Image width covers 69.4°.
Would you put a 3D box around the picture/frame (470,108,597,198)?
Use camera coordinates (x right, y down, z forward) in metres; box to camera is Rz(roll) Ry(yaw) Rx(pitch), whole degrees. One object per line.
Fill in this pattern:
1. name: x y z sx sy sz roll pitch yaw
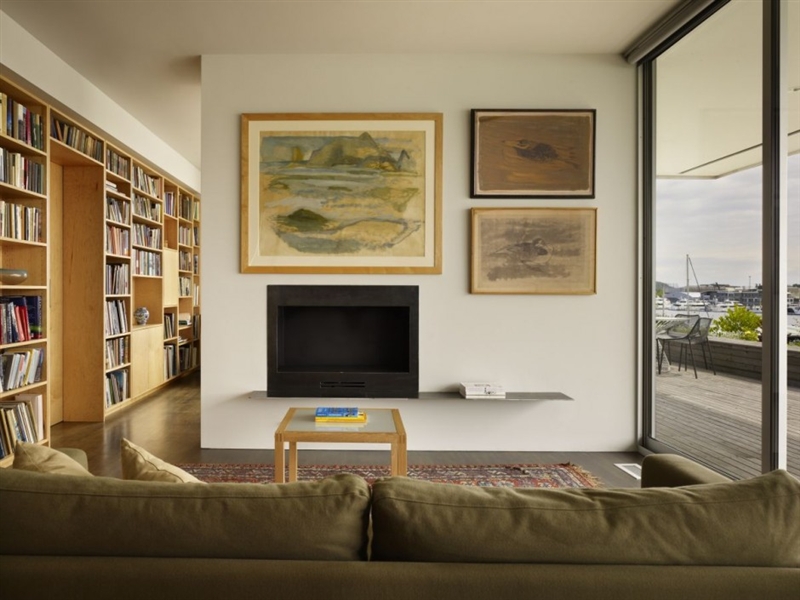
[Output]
1. picture/frame: 0.959 -1.051 4.119 0.710 0.453 0.033 0 3 1

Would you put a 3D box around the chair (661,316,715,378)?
1. chair: 1.841 0.288 3.734 0.315 0.402 0.320 3 1 42

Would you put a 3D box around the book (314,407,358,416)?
1. book: -0.365 0.633 3.294 0.145 0.029 0.130 0 0 -1

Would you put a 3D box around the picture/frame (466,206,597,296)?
1. picture/frame: 0.951 -0.362 4.119 0.701 0.446 0.024 0 3 2

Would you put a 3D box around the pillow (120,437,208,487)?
1. pillow: -0.768 0.547 1.919 0.217 0.060 0.204 18 -9 35

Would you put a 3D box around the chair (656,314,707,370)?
1. chair: 1.833 0.270 3.777 0.294 0.374 0.293 2 0 33

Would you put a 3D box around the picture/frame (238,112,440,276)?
1. picture/frame: -0.479 -0.760 4.118 1.309 0.929 0.049 0 1 3
